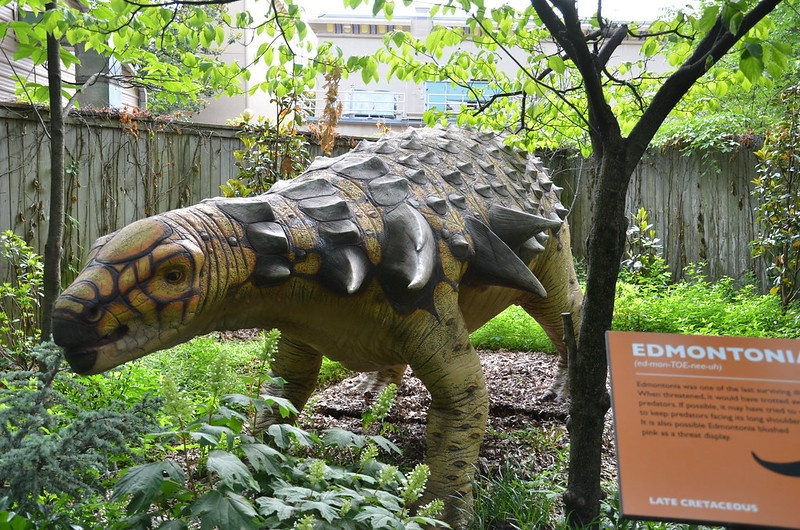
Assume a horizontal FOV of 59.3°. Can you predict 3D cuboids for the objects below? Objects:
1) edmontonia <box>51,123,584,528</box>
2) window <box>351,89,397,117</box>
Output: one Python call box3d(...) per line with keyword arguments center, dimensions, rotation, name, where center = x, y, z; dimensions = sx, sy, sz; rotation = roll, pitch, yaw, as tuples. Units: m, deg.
box3d(center=(-0.186, 0.241, 4.000), dimensions=(3.135, 2.157, 0.914), rotation=(5, -1, -39), name="edmontonia")
box3d(center=(-0.650, -3.733, 16.433), dimensions=(1.087, 0.669, 1.594), rotation=(4, -1, 0), name="window")
